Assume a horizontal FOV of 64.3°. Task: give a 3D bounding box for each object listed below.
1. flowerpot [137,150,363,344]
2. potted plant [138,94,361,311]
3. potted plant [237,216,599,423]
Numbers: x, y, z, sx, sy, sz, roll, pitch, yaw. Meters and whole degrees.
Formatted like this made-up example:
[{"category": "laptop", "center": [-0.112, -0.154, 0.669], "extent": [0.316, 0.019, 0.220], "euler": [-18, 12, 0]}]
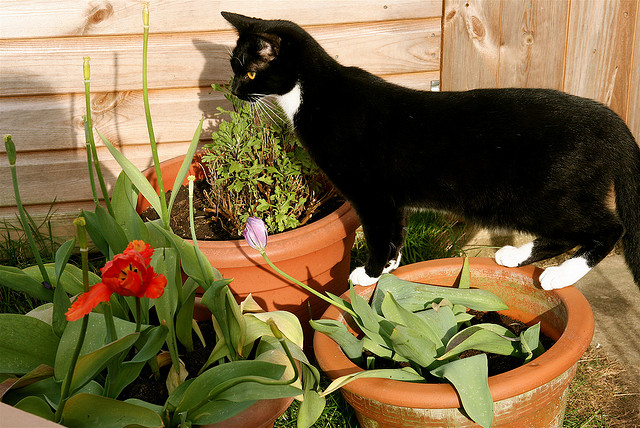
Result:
[{"category": "flowerpot", "center": [-0.267, 0.101, 2.789], "extent": [1.026, 0.725, 1.006], "euler": [-7, 25, -6]}, {"category": "potted plant", "center": [-0.282, 0.096, 2.587], "extent": [1.082, 0.785, 1.133], "euler": [-2, 33, -7]}, {"category": "potted plant", "center": [0.414, 0.598, 2.161], "extent": [1.217, 0.807, 0.878], "euler": [2, 28, 22]}]
